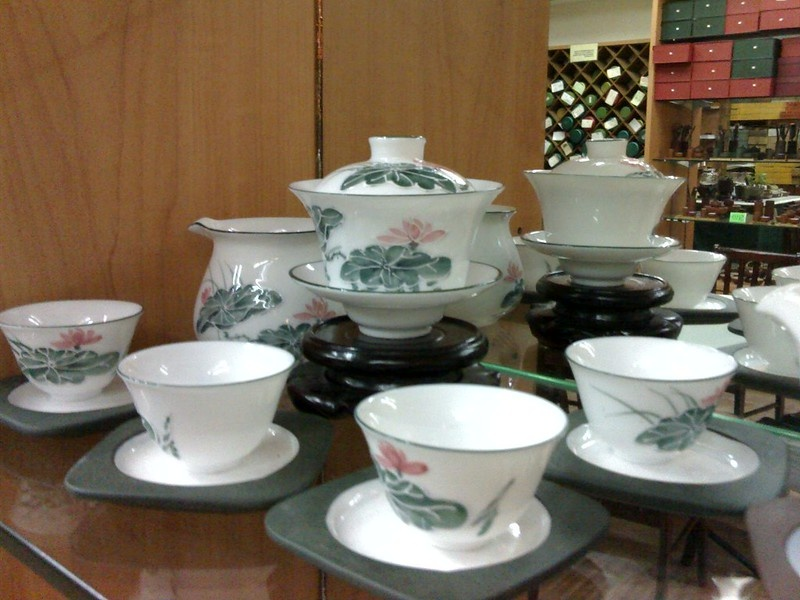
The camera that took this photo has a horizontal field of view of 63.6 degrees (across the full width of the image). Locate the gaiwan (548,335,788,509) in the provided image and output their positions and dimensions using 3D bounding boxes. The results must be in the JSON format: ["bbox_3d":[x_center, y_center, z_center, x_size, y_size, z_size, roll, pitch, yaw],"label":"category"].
[{"bbox_3d":[0.232,0.106,0.615,0.252,0.082,0.179,4,5,26],"label":"gaiwan"}]

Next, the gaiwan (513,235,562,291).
[{"bbox_3d":[0.201,-0.057,0.971,0.094,0.057,0.081,7,12,16],"label":"gaiwan"}]

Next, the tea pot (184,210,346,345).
[{"bbox_3d":[-0.169,-0.008,0.874,0.201,0.174,0.173,-5,17,-13],"label":"tea pot"}]

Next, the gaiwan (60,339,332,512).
[{"bbox_3d":[-0.187,0.132,0.610,0.201,0.068,0.188,-11,23,-41],"label":"gaiwan"}]

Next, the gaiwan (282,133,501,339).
[{"bbox_3d":[-0.006,-0.061,0.740,0.288,0.178,0.209,-3,10,-19],"label":"gaiwan"}]

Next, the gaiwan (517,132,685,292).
[{"bbox_3d":[0.242,-0.111,0.850,0.251,0.149,0.182,-1,10,-2],"label":"gaiwan"}]
